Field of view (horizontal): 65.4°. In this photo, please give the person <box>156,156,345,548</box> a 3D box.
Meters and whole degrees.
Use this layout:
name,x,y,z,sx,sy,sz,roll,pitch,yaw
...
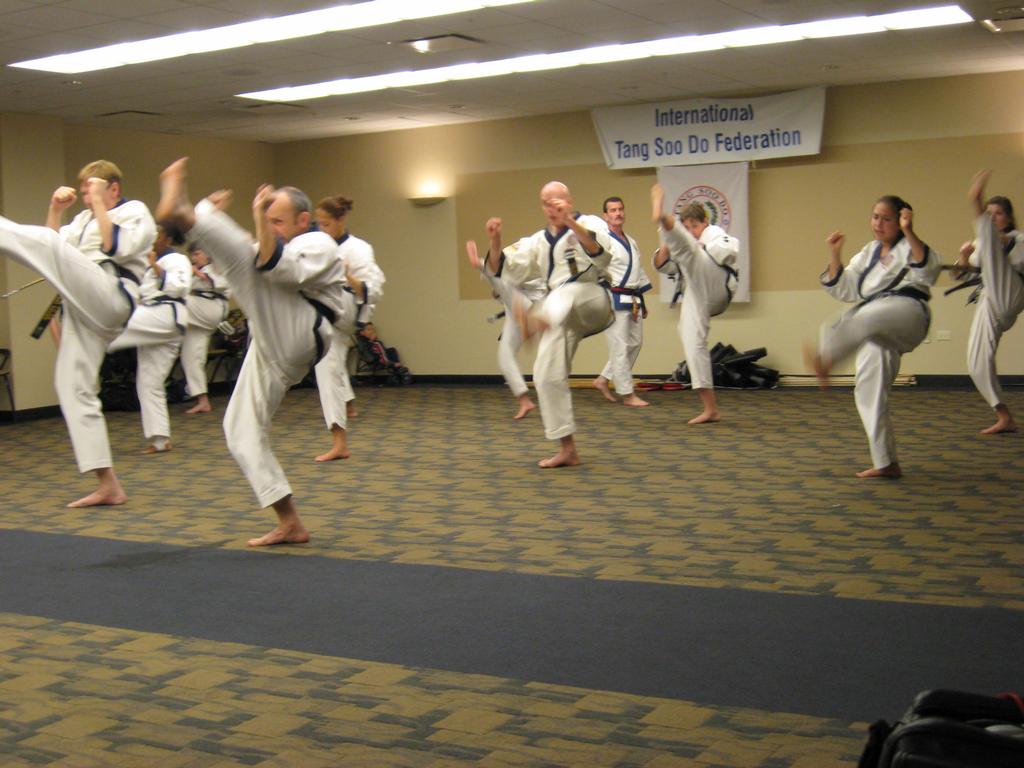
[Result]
name,x,y,z,sx,sy,sz,roll,pitch,yaw
person,-1.175,-0.113,3.883,0.533,1.881,0.946,3,14,31

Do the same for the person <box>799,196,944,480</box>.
name,x,y,z,sx,sy,sz,roll,pitch,yaw
person,2.285,-0.264,5.059,0.842,1.801,0.584,-4,12,0

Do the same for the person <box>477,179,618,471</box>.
name,x,y,z,sx,sy,sz,roll,pitch,yaw
person,0.285,-0.394,5.718,0.903,2.068,0.998,-3,12,6
